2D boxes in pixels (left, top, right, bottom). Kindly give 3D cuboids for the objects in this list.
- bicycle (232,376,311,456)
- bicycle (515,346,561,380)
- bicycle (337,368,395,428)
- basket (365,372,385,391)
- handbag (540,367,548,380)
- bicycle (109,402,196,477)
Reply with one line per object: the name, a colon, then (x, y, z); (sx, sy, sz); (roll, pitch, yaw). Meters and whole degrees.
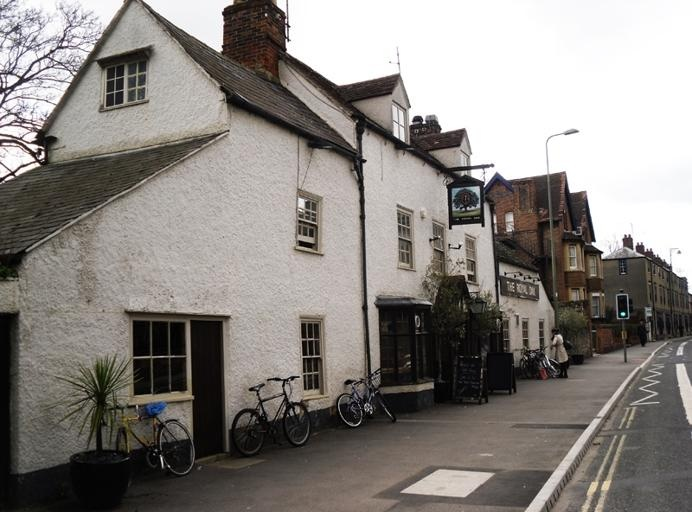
bicycle: (-1.550, 3.443, 14.029); (0.864, 1.567, 2.185); (-14, -14, 43)
bicycle: (8.388, 4.637, 28.115); (0.962, 1.110, 1.608); (4, -11, -29)
bicycle: (0.527, 3.735, 17.048); (1.789, 1.207, 0.898); (-17, -5, 34)
basket: (0.819, 3.456, 18.054); (0.276, 0.384, 0.686); (-5, 10, 28)
handbag: (8.321, 4.912, 27.228); (0.309, 0.607, 0.403); (-7, -3, 3)
bicycle: (-3.536, 3.381, 11.976); (0.807, 1.134, 1.709); (-23, -26, 29)
